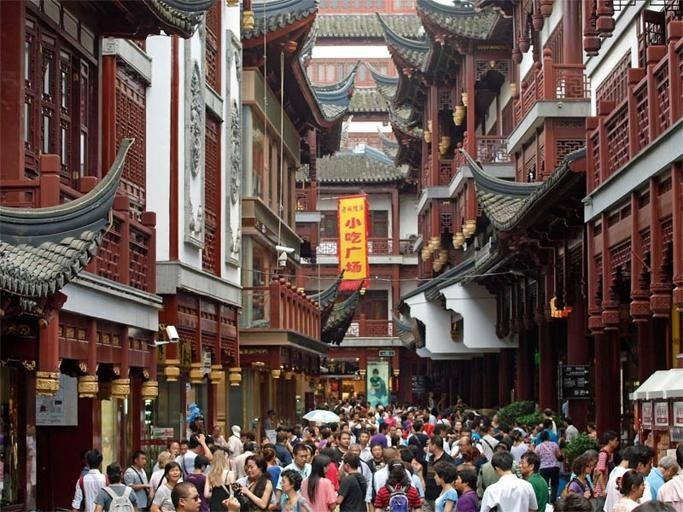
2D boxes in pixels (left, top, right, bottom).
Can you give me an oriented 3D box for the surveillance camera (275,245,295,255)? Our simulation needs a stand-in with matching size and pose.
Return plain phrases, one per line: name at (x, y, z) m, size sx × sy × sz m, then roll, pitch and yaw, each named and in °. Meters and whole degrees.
surveillance camera at (-1.586, -0.118, 40.439) m, size 0.307 × 0.081 × 0.245 m, roll 13°, pitch -47°, yaw 5°
